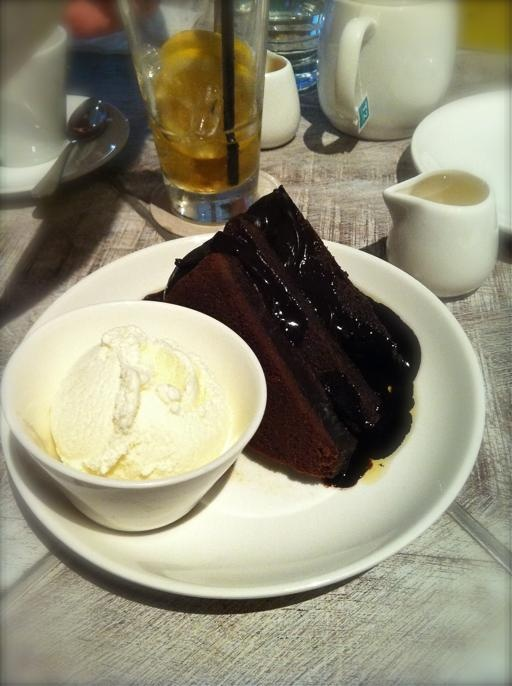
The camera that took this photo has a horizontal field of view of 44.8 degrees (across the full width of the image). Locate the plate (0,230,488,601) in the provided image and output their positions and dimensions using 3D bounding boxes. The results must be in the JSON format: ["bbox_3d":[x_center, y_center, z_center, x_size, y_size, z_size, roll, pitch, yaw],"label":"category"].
[{"bbox_3d":[0.045,-0.018,0.490,0.374,0.069,0.334,0,46,-2],"label":"plate"}]
